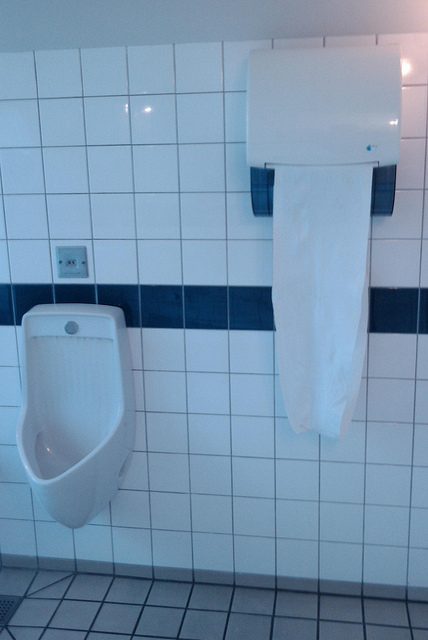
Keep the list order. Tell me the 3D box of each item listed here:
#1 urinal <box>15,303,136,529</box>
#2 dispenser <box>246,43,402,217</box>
[{"bbox_3d":[-0.455,0.259,1.938,0.298,0.850,0.363,4,15,11],"label":"urinal"},{"bbox_3d":[0.317,-0.600,1.819,0.444,0.563,0.322,0,47,7],"label":"dispenser"}]
